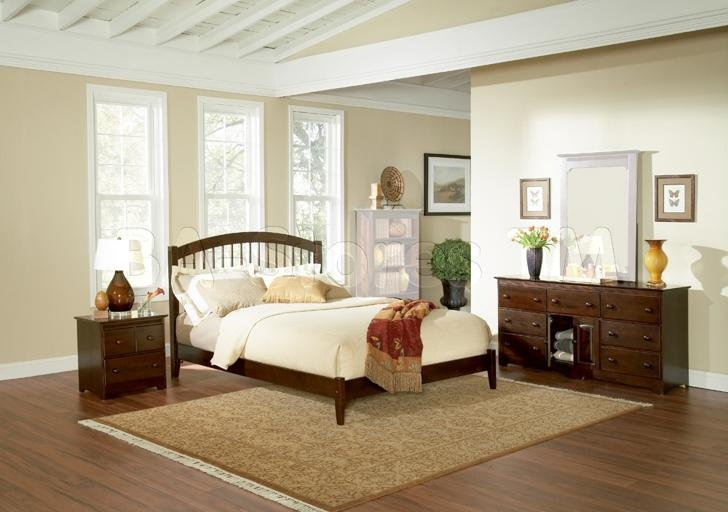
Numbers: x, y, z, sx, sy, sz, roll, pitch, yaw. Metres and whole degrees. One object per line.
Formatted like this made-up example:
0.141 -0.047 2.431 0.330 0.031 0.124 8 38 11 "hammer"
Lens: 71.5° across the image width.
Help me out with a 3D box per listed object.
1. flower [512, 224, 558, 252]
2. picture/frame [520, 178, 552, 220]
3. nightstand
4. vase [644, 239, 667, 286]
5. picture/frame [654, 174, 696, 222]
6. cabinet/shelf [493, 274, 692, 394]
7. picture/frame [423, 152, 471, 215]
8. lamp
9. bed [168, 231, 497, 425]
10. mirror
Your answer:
1.858 -0.203 5.586 0.329 0.140 0.366 -4 7 -41 "flower"
1.995 -0.662 5.849 0.370 0.474 0.065 7 10 40 "picture/frame"
-2.366 0.977 4.983 0.737 0.605 0.598 2 -5 -42 "nightstand"
2.791 0.060 4.834 0.182 0.428 0.269 5 8 30 "vase"
3.071 -0.563 4.977 0.056 0.455 0.351 -6 9 -40 "picture/frame"
2.354 0.789 5.042 1.280 0.621 0.404 1 2 43 "cabinet/shelf"
1.395 -1.252 8.710 1.337 1.107 0.049 0 -2 -37 "picture/frame"
-2.365 0.179 4.913 0.420 0.715 0.282 -1 8 -15 "lamp"
-0.408 0.635 5.365 2.252 1.336 2.917 -3 4 -40 "bed"
2.474 -0.440 5.375 0.230 1.312 0.805 -5 9 -35 "mirror"
